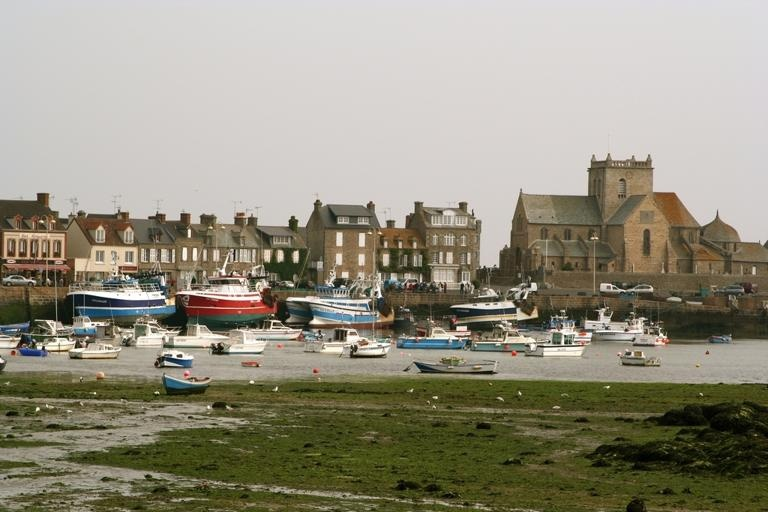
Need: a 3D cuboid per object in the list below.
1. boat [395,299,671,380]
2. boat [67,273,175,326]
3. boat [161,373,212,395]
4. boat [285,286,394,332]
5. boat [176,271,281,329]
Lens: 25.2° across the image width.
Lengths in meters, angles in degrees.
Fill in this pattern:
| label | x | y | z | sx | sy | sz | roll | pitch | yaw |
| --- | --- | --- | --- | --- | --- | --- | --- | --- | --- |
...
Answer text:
| label | x | y | z | sx | sy | sz | roll | pitch | yaw |
| --- | --- | --- | --- | --- | --- | --- | --- | --- | --- |
| boat | 12.435 | 6.725 | 127.886 | 16.553 | 4.432 | 37.661 | -2 | -4 | 10 |
| boat | -20.906 | 3.658 | 137.291 | 3.353 | 3.167 | 9.391 | -2 | -4 | 34 |
| boat | -11.537 | 7.570 | 99.795 | 1.355 | 0.753 | 2.387 | 4 | 2 | 42 |
| boat | -3.628 | 4.769 | 147.169 | 6.584 | 1.854 | 4.432 | 4 | -4 | -40 |
| boat | -13.155 | 4.132 | 140.522 | 3.418 | 3.022 | 8.595 | -2 | -7 | 37 |
